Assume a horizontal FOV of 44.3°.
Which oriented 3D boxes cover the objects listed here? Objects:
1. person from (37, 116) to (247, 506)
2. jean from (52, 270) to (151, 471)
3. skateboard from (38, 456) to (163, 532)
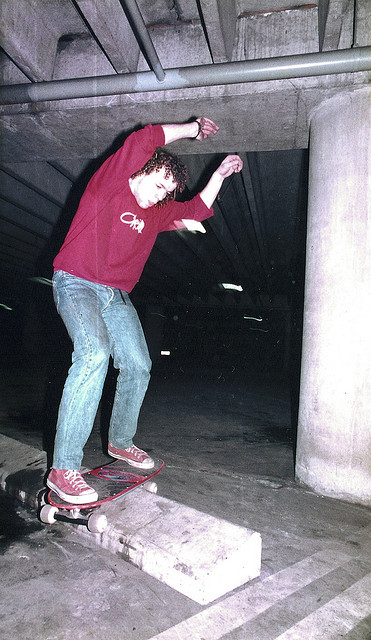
[{"bbox_3d":[-0.368,-0.151,3.049,1.004,2.086,0.774,2,-1,-18],"label":"person"},{"bbox_3d":[-0.575,0.323,3.011,0.417,1.094,0.765,1,-1,24],"label":"jean"},{"bbox_3d":[-0.496,1.070,2.867,0.282,0.233,0.900,5,-5,20],"label":"skateboard"}]
